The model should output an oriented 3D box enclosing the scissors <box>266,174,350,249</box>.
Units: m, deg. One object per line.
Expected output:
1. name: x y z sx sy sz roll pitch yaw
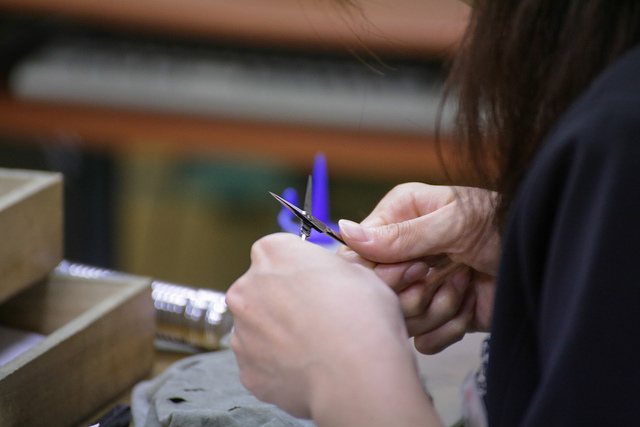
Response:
1. scissors: -0.012 -0.008 1.201 0.011 0.101 0.095 -30 53 -21
